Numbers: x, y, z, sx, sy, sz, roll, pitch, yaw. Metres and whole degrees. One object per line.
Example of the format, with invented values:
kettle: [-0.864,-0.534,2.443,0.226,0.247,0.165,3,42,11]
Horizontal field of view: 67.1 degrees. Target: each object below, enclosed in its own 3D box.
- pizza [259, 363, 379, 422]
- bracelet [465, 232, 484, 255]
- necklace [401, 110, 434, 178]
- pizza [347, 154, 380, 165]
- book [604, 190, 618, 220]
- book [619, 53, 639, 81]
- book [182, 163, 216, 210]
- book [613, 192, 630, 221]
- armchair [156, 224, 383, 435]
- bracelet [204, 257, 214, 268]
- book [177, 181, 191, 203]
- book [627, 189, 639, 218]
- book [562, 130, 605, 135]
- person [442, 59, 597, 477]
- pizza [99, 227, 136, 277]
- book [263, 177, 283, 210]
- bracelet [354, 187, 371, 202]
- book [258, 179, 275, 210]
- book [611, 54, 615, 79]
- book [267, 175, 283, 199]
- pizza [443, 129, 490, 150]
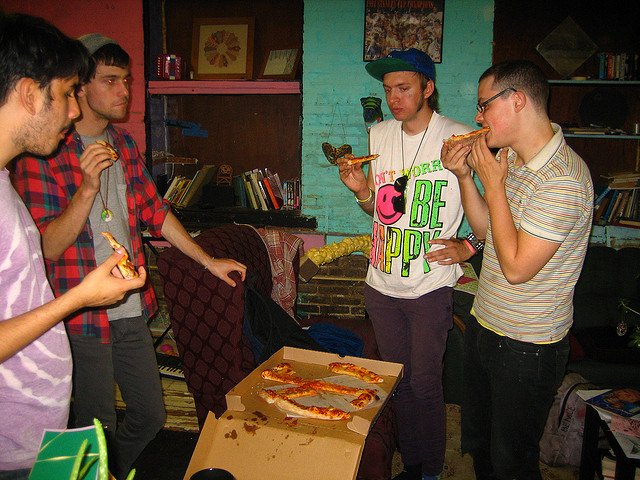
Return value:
pizza: [-0.029,0.690,2.187,0.332,0.048,0.232,4,13,12]
bracelet: [0.892,0.020,2.786,0.124,0.067,0.092,37,7,-38]
necklace: [0.572,-0.556,2.805,0.121,0.398,0.017,7,-24,36]
pizza: [0.263,-0.489,2.921,0.201,0.051,0.083,-13,15,-42]
book: [2.675,-0.320,4.494,0.057,0.321,0.043,22,9,-21]
book: [2.735,-1.539,4.272,0.165,0.230,0.056,-3,12,-1]
book: [-1.254,-0.567,4.973,0.096,0.413,0.382,26,-22,2]
book: [2.758,-0.312,4.422,0.057,0.241,0.042,15,14,10]
armchair: [-0.420,0.446,3.704,1.692,1.697,1.233,-2,25,3]
bracelet: [-0.635,0.129,2.758,0.075,0.012,0.010,-45,17,-4]
book: [-1.398,-0.485,4.956,0.041,0.040,0.266,21,68,43]
book: [2.842,-0.330,4.380,0.086,0.247,0.034,-6,12,-13]
book: [2.367,-0.969,4.327,0.370,0.055,0.049,-2,12,2]
person: [0.948,0.236,2.412,0.429,2.188,0.629,-11,14,-33]
pizza: [-0.914,0.052,2.151,0.053,0.068,0.233,-38,62,-4]
book: [-0.487,-0.472,4.863,0.064,0.262,0.261,-22,11,7]
bracelet: [0.267,-0.302,3.164,0.075,0.087,0.167,-7,12,-20]
book: [-0.542,-0.457,4.862,0.061,0.254,0.251,-22,25,-11]
book: [2.602,-1.547,4.289,0.024,0.195,0.045,4,13,29]
book: [-0.466,-0.540,4.939,0.048,0.197,0.198,-23,-17,12]
pizza: [0.753,-0.525,2.516,0.208,0.094,0.360,0,12,13]
